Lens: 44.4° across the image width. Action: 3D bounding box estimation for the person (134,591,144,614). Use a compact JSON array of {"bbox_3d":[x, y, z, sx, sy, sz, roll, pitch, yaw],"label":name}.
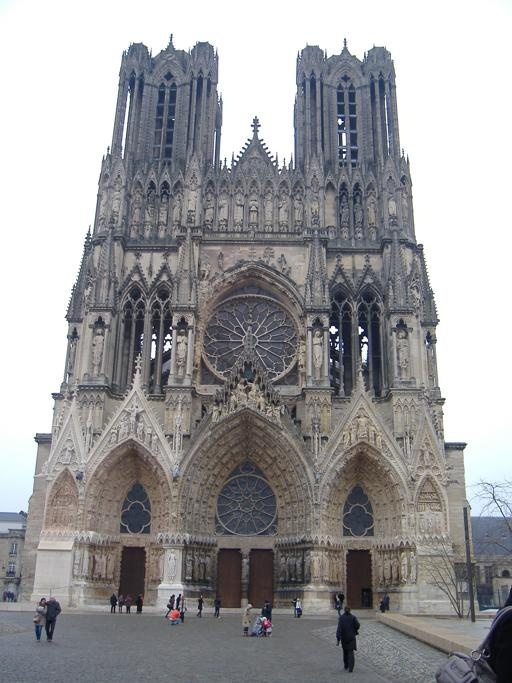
[{"bbox_3d":[-5.048,11.402,27.127,0.251,0.679,0.842,5,-18,-14],"label":"person"}]
